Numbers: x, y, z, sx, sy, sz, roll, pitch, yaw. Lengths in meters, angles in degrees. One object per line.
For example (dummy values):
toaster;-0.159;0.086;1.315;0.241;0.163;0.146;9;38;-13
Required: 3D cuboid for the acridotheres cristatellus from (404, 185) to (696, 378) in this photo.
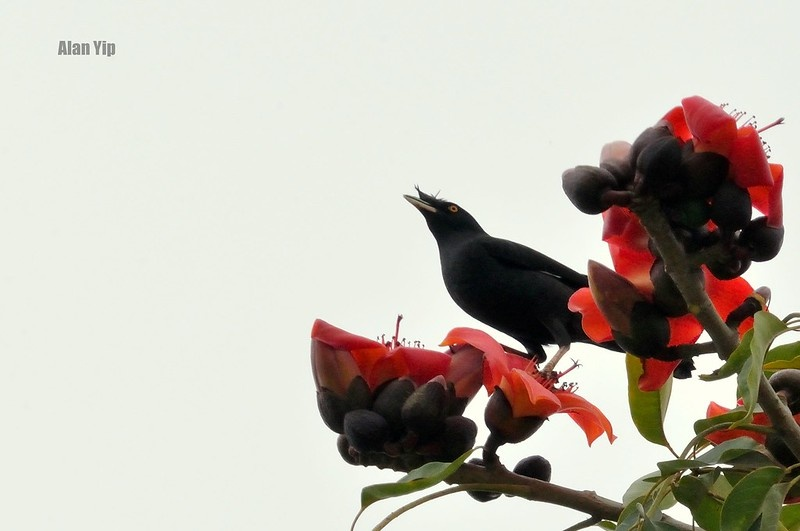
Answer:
acridotheres cristatellus;0.282;0.057;2.280;0.553;0.355;0.183;12;-34;-11
